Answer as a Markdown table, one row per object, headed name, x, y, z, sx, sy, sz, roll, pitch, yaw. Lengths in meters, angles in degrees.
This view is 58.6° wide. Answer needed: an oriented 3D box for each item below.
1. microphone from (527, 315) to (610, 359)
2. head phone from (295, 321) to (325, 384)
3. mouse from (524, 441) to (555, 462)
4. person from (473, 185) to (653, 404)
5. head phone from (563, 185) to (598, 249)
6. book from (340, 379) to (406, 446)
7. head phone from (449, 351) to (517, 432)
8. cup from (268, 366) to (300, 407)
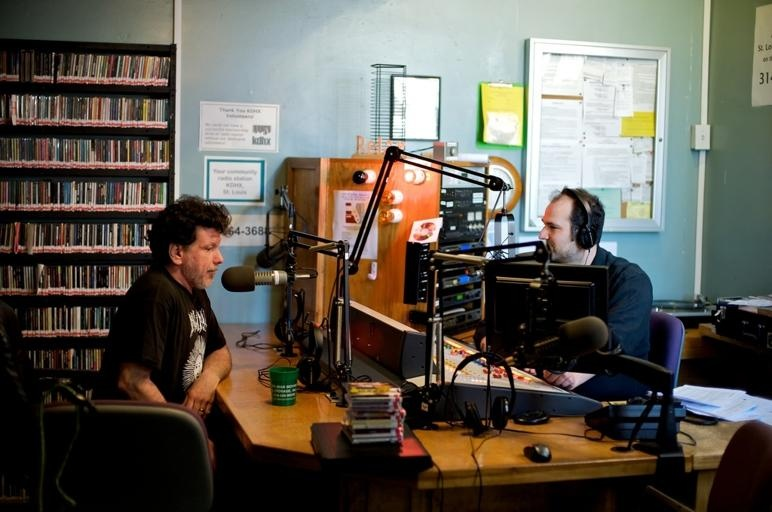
| name | x | y | z | sx | sy | sz | roll | pitch | yaw |
| --- | --- | --- | --- | --- | --- | --- | --- | --- | --- |
| microphone | 0.709 | 0.317 | 2.683 | 0.138 | 0.114 | 0.279 | 20 | -23 | -36 |
| head phone | -0.370 | 0.474 | 3.304 | 0.148 | 0.350 | 0.278 | 3 | 0 | -11 |
| mouse | 0.604 | 0.762 | 2.689 | 0.132 | 0.058 | 0.083 | -4 | 7 | -32 |
| person | 0.928 | 0.161 | 3.994 | 0.998 | 1.425 | 1.088 | 2 | -2 | -5 |
| head phone | 0.975 | -0.181 | 3.505 | 0.099 | 0.232 | 0.273 | -15 | 11 | -1 |
| book | -0.046 | 0.608 | 2.703 | 0.216 | 0.160 | 0.218 | 0 | 5 | -4 |
| head phone | 0.405 | 0.582 | 2.894 | 0.332 | 0.403 | 0.148 | 0 | -5 | 0 |
| cup | -0.451 | 0.567 | 3.010 | 0.152 | 0.153 | 0.143 | -1 | 2 | 0 |
